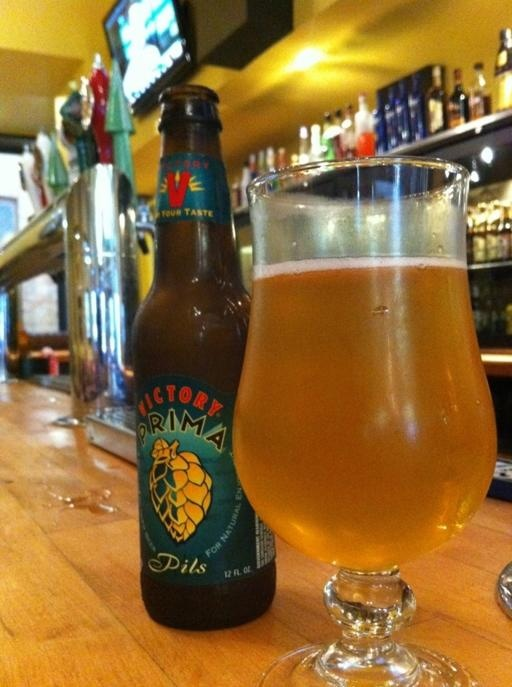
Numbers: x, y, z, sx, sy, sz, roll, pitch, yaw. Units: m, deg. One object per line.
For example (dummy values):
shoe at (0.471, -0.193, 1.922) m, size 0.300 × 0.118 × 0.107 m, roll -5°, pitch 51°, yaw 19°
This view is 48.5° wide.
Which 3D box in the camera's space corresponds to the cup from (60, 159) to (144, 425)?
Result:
cup at (-0.218, -0.076, 0.795) m, size 0.101 × 0.369 × 0.150 m, roll -1°, pitch -3°, yaw -13°
